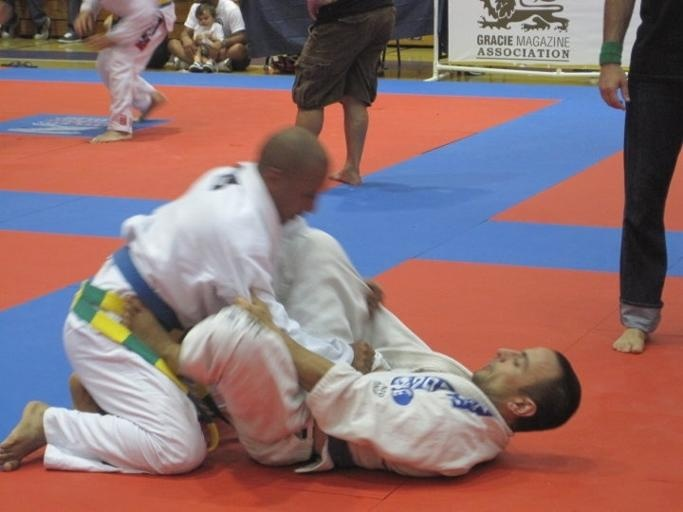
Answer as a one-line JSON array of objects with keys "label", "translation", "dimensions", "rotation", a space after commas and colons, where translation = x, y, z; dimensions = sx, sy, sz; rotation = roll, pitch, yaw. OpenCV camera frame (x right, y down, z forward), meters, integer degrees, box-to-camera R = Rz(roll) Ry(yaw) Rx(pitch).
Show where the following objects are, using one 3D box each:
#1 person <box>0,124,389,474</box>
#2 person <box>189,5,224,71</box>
[{"label": "person", "translation": [-0.409, 0.127, 2.804], "dimensions": [1.398, 1.102, 0.887], "rotation": [5, 14, -10]}, {"label": "person", "translation": [-2.165, -3.513, 11.679], "dimensions": [0.564, 1.022, 0.350], "rotation": [-3, 19, -7]}]
